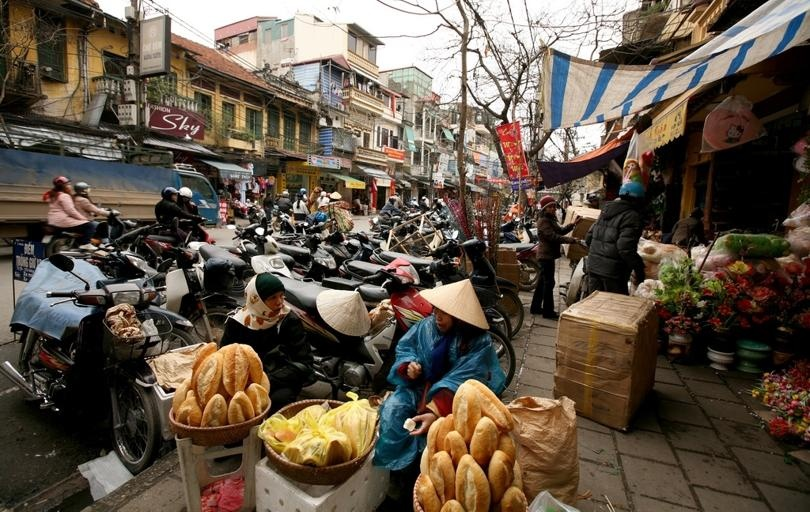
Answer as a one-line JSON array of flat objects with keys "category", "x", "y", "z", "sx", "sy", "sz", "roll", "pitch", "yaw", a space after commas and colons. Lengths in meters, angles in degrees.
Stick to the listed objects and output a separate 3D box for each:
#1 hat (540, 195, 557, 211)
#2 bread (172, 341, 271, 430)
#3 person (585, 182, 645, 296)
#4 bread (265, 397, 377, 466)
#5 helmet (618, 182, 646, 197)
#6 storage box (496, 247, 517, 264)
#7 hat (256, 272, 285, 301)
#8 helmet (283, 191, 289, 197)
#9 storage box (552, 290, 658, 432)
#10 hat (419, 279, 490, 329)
[{"category": "hat", "x": 2.481, "y": -0.914, "z": 9.499, "sx": 0.257, "sy": 0.183, "sz": 0.256, "roll": -31, "pitch": 23, "yaw": -23}, {"category": "bread", "x": -1.809, "y": 1.323, "z": 5.312, "sx": 0.694, "sy": 0.393, "sz": 0.937, "roll": 5, "pitch": 35, "yaw": -1}, {"category": "person", "x": 3.052, "y": -0.239, "z": 7.765, "sx": 0.776, "sy": 1.694, "sz": 0.646, "roll": 7, "pitch": 8, "yaw": 17}, {"category": "bread", "x": -0.781, "y": 1.736, "z": 5.298, "sx": 0.651, "sy": 0.290, "sz": 0.657, "roll": 8, "pitch": 9, "yaw": 40}, {"category": "helmet", "x": 3.215, "y": -0.961, "z": 7.638, "sx": 0.284, "sy": 0.230, "sz": 0.218, "roll": 21, "pitch": 17, "yaw": 17}, {"category": "storage box", "x": 1.745, "y": -0.011, "z": 9.225, "sx": 0.324, "sy": 0.194, "sz": 0.315, "roll": 0, "pitch": 6, "yaw": 5}, {"category": "hat", "x": -1.455, "y": 0.296, "z": 5.931, "sx": 0.297, "sy": 0.276, "sz": 0.274, "roll": 12, "pitch": 10, "yaw": 9}, {"category": "helmet", "x": -3.734, "y": -1.935, "z": 16.826, "sx": 0.195, "sy": 0.206, "sz": 0.269, "roll": 1, "pitch": 6, "yaw": 0}, {"category": "storage box", "x": 2.640, "y": 1.259, "z": 7.032, "sx": 1.110, "sy": 1.273, "sz": 1.501, "roll": 7, "pitch": 16, "yaw": 27}, {"category": "hat", "x": 0.558, "y": 0.487, "z": 5.672, "sx": 0.567, "sy": 0.250, "sz": 0.569, "roll": 27, "pitch": 4, "yaw": 15}]
